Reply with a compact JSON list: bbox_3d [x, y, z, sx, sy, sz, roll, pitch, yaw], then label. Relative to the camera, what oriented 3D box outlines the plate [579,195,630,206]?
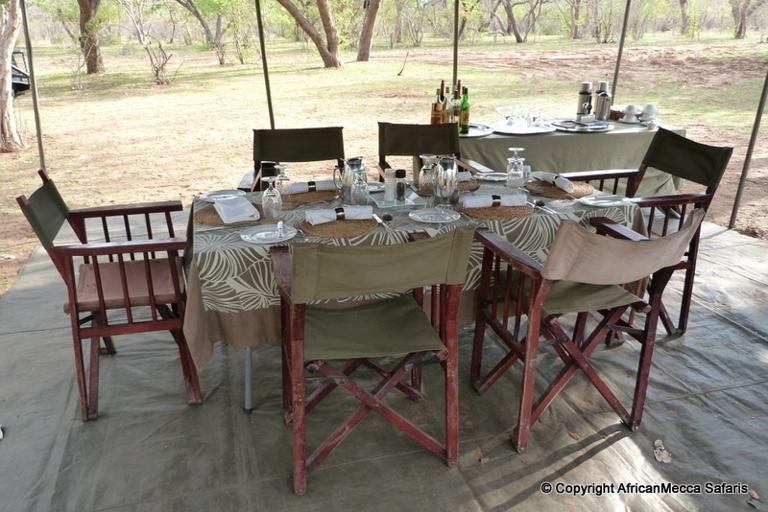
[{"bbox_3d":[1.178,-0.292,2.770,0.171,0.025,0.109,-3,24,-2],"label":"plate"}]

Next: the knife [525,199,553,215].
[{"bbox_3d":[0.824,-0.248,2.699,0.090,0.028,0.097,-14,26,-18],"label":"knife"}]

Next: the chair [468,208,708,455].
[{"bbox_3d":[0.983,0.396,2.582,0.959,1.227,0.896,-7,28,-11],"label":"chair"}]

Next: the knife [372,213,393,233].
[{"bbox_3d":[0.001,-0.168,2.565,0.056,0.020,0.146,-10,33,-14],"label":"knife"}]

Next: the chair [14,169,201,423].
[{"bbox_3d":[-1.372,0.135,2.744,0.677,1.165,0.894,-13,28,-21],"label":"chair"}]

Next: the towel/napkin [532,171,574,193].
[{"bbox_3d":[0.966,-0.417,2.964,0.093,0.075,0.332,-28,22,-8],"label":"towel/napkin"}]

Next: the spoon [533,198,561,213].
[{"bbox_3d":[0.848,-0.263,2.699,0.055,0.038,0.121,-10,26,-18],"label":"spoon"}]

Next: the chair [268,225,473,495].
[{"bbox_3d":[-0.064,0.385,2.368,0.850,1.146,0.628,-7,27,-10],"label":"chair"}]
